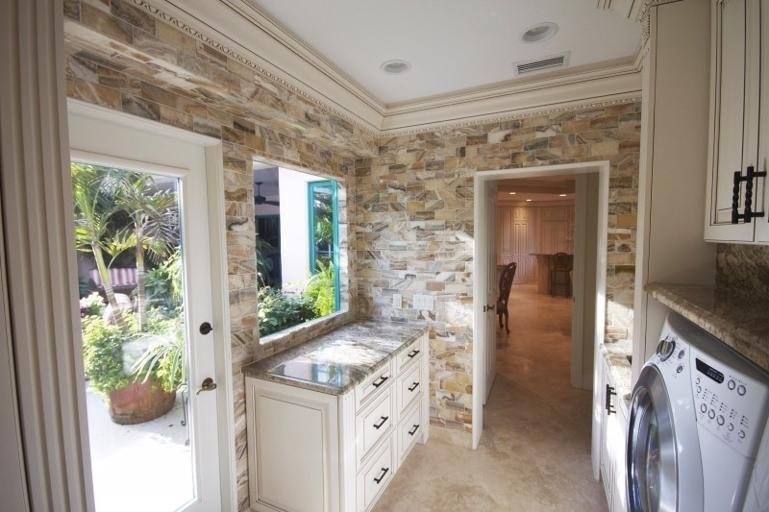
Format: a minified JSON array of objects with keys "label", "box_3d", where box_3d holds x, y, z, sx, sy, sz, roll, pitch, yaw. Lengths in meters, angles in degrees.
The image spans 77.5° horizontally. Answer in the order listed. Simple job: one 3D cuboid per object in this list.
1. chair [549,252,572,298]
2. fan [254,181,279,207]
[{"label":"chair","box_3d":[3.417,0.386,9.331,0.404,0.891,0.365,3,12,18]},{"label":"fan","box_3d":[-0.828,-0.421,3.335,0.152,0.143,0.154,9,16,34]}]
